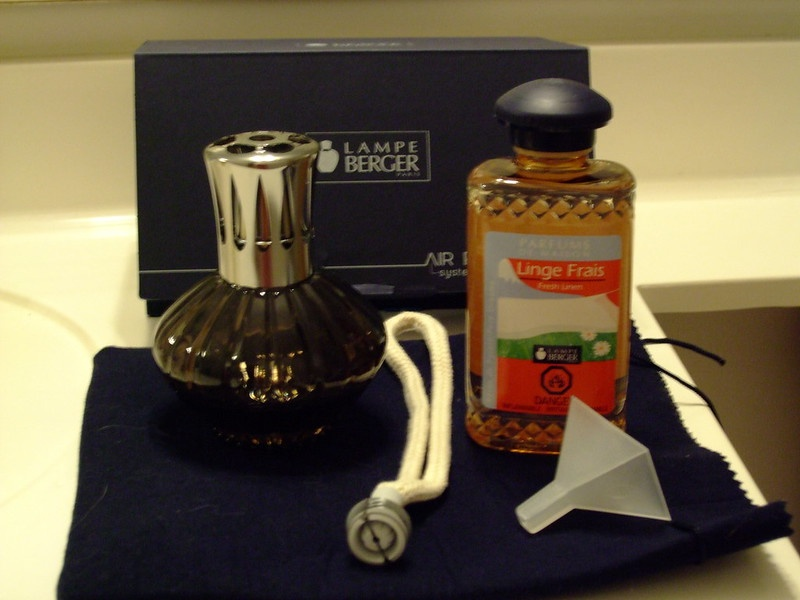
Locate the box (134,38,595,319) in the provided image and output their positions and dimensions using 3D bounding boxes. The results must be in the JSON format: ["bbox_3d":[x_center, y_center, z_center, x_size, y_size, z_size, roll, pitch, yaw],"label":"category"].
[{"bbox_3d":[-0.050,-0.098,0.681,0.405,0.222,0.136,-11,6,-35],"label":"box"}]

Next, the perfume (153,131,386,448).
[{"bbox_3d":[-0.087,-0.006,0.491,0.155,0.191,0.155,11,22,25],"label":"perfume"}]

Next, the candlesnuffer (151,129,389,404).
[{"bbox_3d":[-0.066,-0.027,0.520,0.168,0.168,0.161,0,21,0],"label":"candlesnuffer"}]
